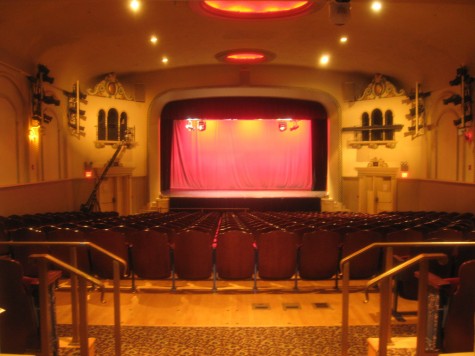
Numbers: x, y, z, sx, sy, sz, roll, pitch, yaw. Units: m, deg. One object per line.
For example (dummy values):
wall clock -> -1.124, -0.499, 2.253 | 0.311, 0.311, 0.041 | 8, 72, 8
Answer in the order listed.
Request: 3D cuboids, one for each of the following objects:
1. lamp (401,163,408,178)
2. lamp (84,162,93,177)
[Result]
lamp -> 6.391, -0.291, 16.702 | 0.292, 0.545, 0.385 | 2, 9, 20
lamp -> -5.735, -0.315, 16.876 | 0.314, 0.572, 0.399 | -4, 9, -19
